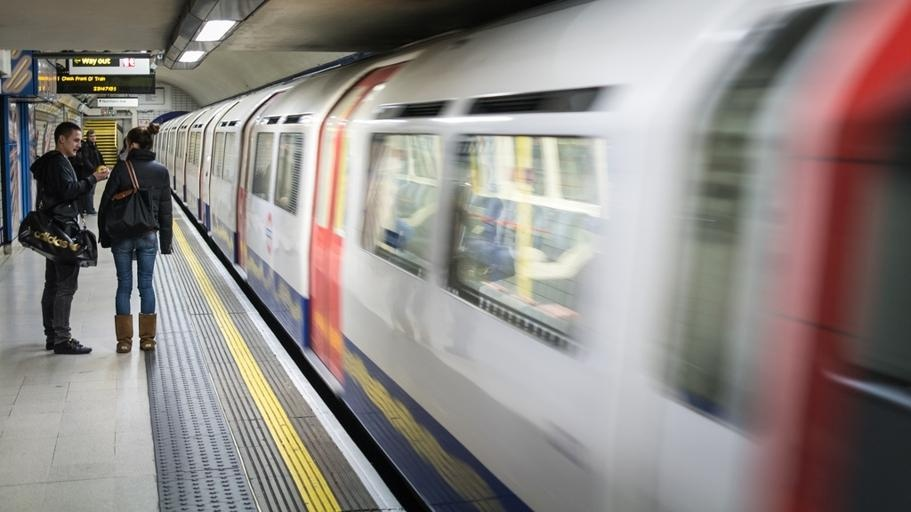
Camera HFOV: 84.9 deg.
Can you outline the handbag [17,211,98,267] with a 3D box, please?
[{"bbox_3d":[-4.259,-0.146,5.437,0.800,0.566,0.320,15,-37,-29],"label":"handbag"}]
